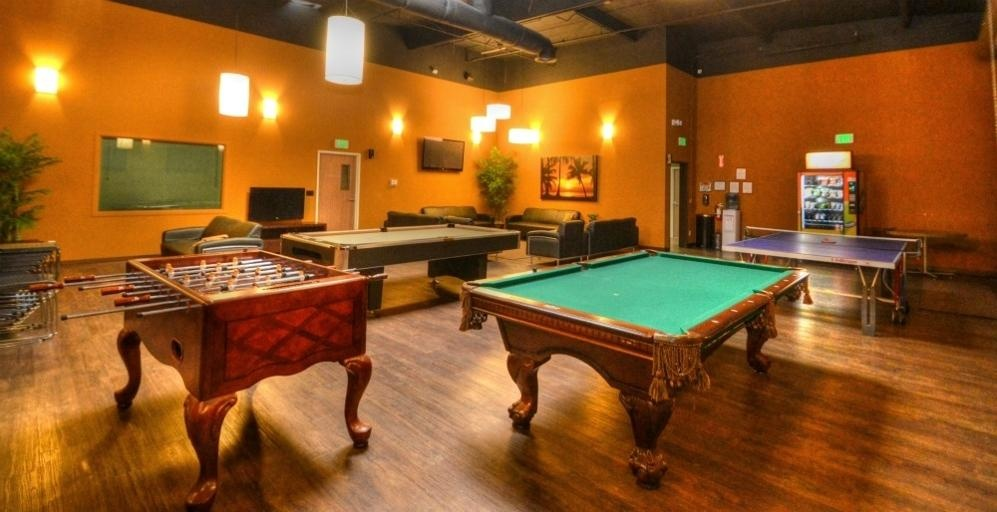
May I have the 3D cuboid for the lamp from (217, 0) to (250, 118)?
[{"bbox_3d":[-5.889,-4.344,13.251,0.594,2.416,1.648,-4,12,-20],"label":"lamp"}]

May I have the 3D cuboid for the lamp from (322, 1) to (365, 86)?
[{"bbox_3d":[-2.772,-3.724,10.722,0.675,1.142,0.411,-3,12,-16],"label":"lamp"}]

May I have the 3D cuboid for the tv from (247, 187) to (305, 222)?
[{"bbox_3d":[-5.414,-1.247,14.339,1.071,0.605,0.146,-3,3,-35],"label":"tv"}]

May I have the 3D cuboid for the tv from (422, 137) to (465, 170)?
[{"bbox_3d":[-1.626,-2.915,16.963,1.197,0.659,0.151,-2,10,-37],"label":"tv"}]

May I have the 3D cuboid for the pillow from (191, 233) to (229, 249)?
[{"bbox_3d":[-5.140,-0.301,10.674,0.458,0.163,0.454,-4,7,-32],"label":"pillow"}]

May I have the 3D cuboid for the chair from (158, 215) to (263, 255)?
[{"bbox_3d":[-5.397,-0.375,11.188,1.701,0.790,0.958,5,3,43],"label":"chair"}]

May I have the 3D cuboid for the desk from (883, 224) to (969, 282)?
[{"bbox_3d":[9.458,0.151,13.273,1.906,1.154,1.423,3,7,39],"label":"desk"}]

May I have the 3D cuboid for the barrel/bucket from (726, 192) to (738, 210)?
[{"bbox_3d":[6.125,-1.436,15.600,0.386,0.424,0.327,4,11,19],"label":"barrel/bucket"}]
